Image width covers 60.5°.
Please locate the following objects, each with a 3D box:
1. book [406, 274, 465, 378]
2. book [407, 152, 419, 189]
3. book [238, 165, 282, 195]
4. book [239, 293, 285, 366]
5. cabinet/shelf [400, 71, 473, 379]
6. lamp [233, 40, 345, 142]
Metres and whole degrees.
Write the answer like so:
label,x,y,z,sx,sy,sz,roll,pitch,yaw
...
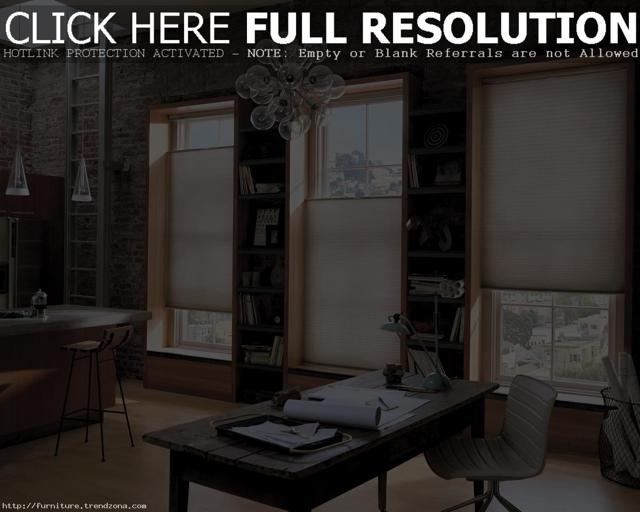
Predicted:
label,x,y,z,sx,sy,sz,roll,pitch,yaw
book,0.951,0.659,4.577,0.507,0.913,1.190,1,3,12
book,0.845,-0.775,5.006,0.074,0.277,0.191,0,2,6
book,-0.627,-0.814,5.885,0.479,0.319,0.211,2,3,37
book,-0.645,0.771,5.840,0.457,0.734,0.174,1,0,28
cabinet/shelf,1.156,-0.718,5.322,0.570,0.320,3.055,4,49,8
lamp,-0.197,-1.106,3.657,0.694,0.762,0.500,-15,11,4
